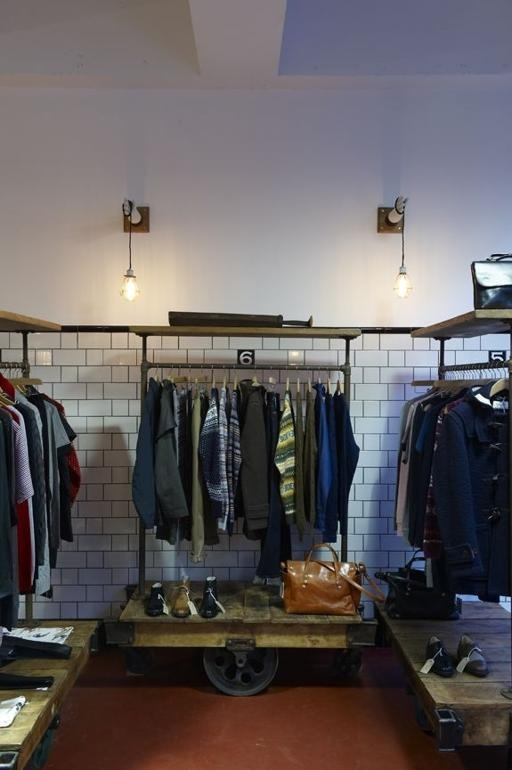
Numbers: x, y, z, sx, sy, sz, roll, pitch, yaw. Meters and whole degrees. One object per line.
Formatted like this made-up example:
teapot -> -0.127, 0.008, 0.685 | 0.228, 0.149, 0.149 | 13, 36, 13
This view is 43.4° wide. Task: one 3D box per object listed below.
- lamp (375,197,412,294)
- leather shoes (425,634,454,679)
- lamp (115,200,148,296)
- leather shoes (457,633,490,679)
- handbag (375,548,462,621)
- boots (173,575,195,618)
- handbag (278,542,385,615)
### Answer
lamp -> 0.822, -0.799, 3.743 | 0.198, 0.577, 0.302 | 0, 4, -3
leather shoes -> 0.810, 1.209, 2.875 | 0.126, 0.081, 0.221 | 2, 5, 19
lamp -> -0.717, -0.779, 3.735 | 0.172, 0.576, 0.272 | 0, 4, -5
leather shoes -> 0.968, 1.210, 2.903 | 0.139, 0.077, 0.274 | 2, 5, 19
handbag -> 0.867, 1.059, 3.543 | 0.416, 0.426, 0.336 | 1, -7, 2
boots -> -0.390, 1.101, 3.382 | 0.114, 0.116, 0.468 | 0, 5, -7
handbag -> 0.383, 1.012, 3.304 | 0.494, 0.399, 0.202 | -2, -26, 10
